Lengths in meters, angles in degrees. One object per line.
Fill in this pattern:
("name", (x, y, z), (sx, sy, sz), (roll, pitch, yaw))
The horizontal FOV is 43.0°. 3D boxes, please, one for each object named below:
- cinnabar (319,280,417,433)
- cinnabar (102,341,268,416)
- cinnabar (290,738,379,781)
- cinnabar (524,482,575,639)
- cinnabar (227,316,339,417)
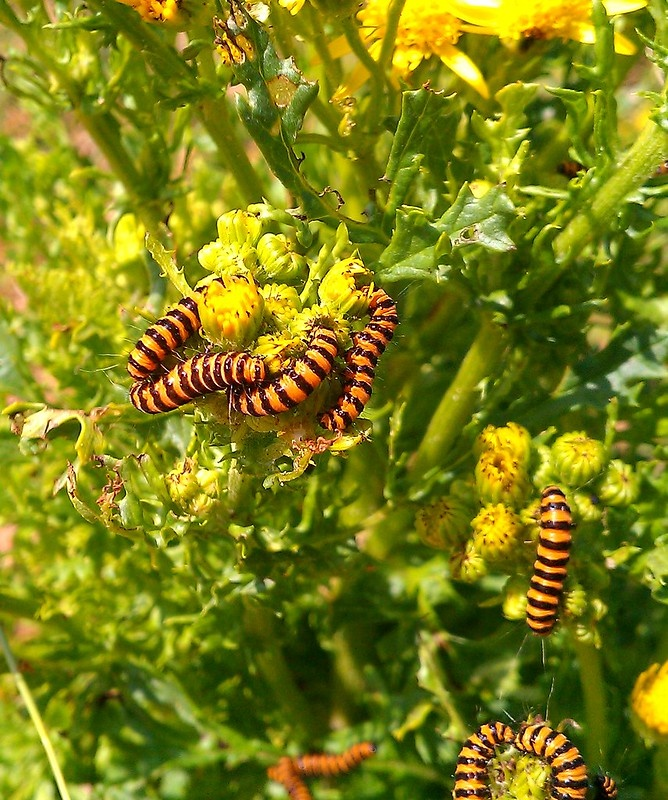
("cinnabar", (0.066, -0.078, 1.196), (0.084, 0.063, 0.252), (19, 74, 34))
("cinnabar", (-0.190, -0.010, 1.134), (0.235, 0.060, 0.065), (-15, 38, 29))
("cinnabar", (-0.003, 0.649, 1.516), (0.291, 0.063, 0.071), (-24, 55, 43))
("cinnabar", (0.312, 0.240, 1.278), (0.075, 0.073, 0.215), (12, 100, 29))
("cinnabar", (-0.054, -0.027, 1.095), (0.094, 0.051, 0.143), (38, 88, 28))
